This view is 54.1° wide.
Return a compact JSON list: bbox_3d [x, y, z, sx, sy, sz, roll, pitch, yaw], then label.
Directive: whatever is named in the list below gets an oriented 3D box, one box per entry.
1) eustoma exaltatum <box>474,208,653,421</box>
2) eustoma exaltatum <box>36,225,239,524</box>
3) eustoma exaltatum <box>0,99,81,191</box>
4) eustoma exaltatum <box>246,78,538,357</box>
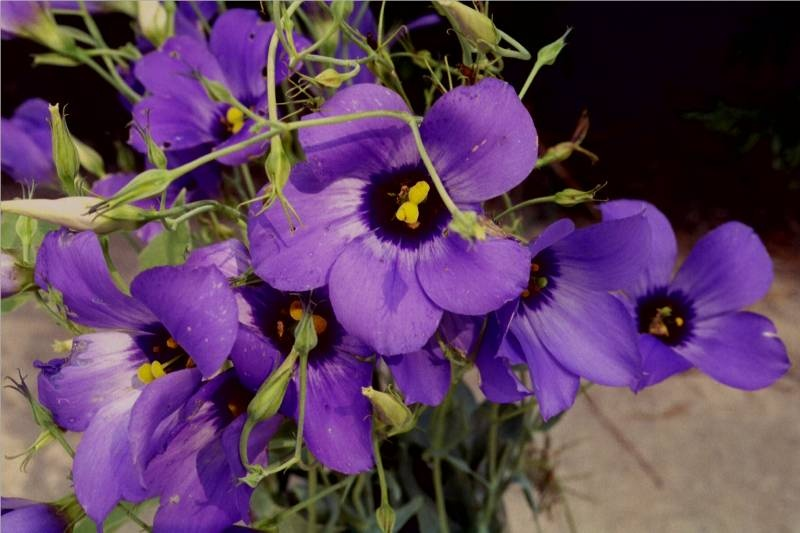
[{"bbox_3d":[0.246,0.063,1.141,0.260,0.295,0.134,3,3,-6],"label":"eustoma exaltatum"},{"bbox_3d":[-0.406,0.164,1.111,0.326,0.329,0.219,16,38,11],"label":"eustoma exaltatum"},{"bbox_3d":[-0.736,-0.238,1.547,0.094,0.139,0.141,-8,41,-19],"label":"eustoma exaltatum"},{"bbox_3d":[-0.012,-0.076,1.066,0.389,0.305,0.225,6,37,-2],"label":"eustoma exaltatum"}]
